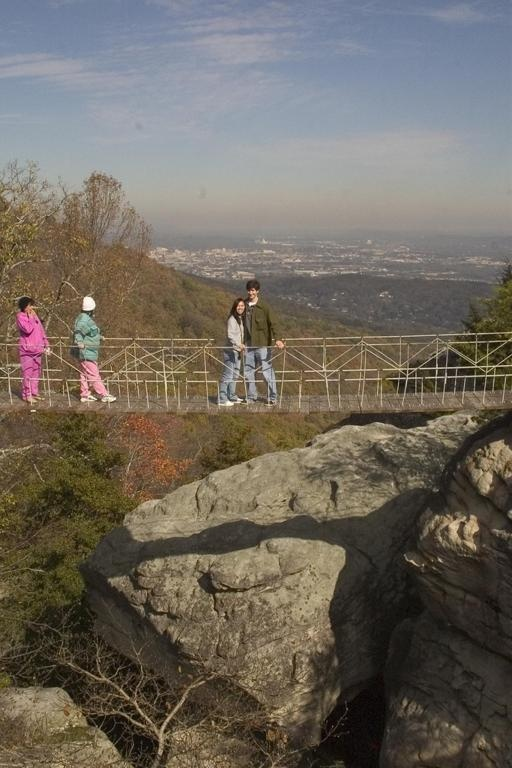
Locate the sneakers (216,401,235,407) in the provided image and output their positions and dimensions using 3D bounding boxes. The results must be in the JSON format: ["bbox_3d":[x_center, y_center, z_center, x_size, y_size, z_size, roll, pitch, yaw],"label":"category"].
[{"bbox_3d":[-0.553,0.335,11.838,0.268,0.113,0.113,-1,8,-1],"label":"sneakers"}]

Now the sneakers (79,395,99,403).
[{"bbox_3d":[-3.105,0.270,12.224,0.355,0.118,0.249,-7,7,3],"label":"sneakers"}]

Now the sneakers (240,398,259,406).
[{"bbox_3d":[-0.125,0.307,11.967,0.363,0.149,0.129,3,0,-23],"label":"sneakers"}]

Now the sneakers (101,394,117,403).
[{"bbox_3d":[-2.712,0.248,12.158,0.303,0.129,0.119,-6,44,2],"label":"sneakers"}]

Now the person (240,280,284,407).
[{"bbox_3d":[0.127,-0.724,11.623,0.655,2.152,1.036,0,6,-2],"label":"person"}]

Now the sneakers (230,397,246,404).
[{"bbox_3d":[-0.321,0.291,11.995,0.278,0.116,0.099,-1,5,1],"label":"sneakers"}]

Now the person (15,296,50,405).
[{"bbox_3d":[-4.122,-0.657,12.251,0.551,1.956,0.893,-2,6,-19],"label":"person"}]
